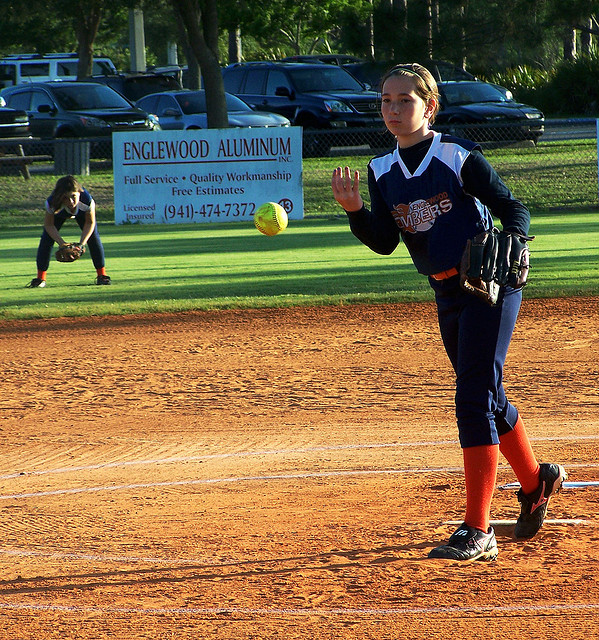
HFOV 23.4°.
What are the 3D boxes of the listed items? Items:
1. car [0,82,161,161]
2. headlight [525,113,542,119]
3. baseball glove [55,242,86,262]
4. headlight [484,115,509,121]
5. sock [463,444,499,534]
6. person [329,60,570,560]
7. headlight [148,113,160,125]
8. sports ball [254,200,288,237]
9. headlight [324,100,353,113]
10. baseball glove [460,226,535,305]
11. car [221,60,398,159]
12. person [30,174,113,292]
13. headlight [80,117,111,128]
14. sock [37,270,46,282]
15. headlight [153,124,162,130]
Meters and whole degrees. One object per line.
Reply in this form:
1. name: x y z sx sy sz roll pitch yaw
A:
1. car: -3.947 -3.432 24.878 3.224 1.265 1.535 4 6 44
2. headlight: 3.946 -3.420 24.194 0.215 0.095 0.438 9 15 41
3. baseball glove: -2.114 -0.669 13.571 0.271 0.188 0.103 -8 43 23
4. headlight: 3.266 -3.346 23.949 0.399 0.100 0.070 -6 13 -19
5. sock: 0.829 0.764 6.608 0.171 0.414 0.153 -6 13 -17
6. person: 0.709 -0.062 6.708 0.660 2.212 0.810 -13 16 -39
7. headlight: -2.425 -3.392 24.310 0.052 0.182 0.201 -21 4 6
8. sports ball: -0.264 -0.935 13.483 0.266 0.307 0.319 -1 12 2
9. headlight: 0.638 -3.419 23.134 0.445 0.205 0.118 -1 12 3
10. baseball glove: 0.873 -0.240 6.428 0.289 0.344 0.176 -2 -4 -17
11. car: 0.065 -3.692 24.174 2.189 1.712 4.317 -6 11 -40
12. person: -2.102 -0.791 13.457 0.841 1.028 0.664 4 9 15
13. headlight: -3.336 -3.245 23.764 0.494 0.168 0.105 2 13 17
14. sock: -2.430 -0.412 13.703 0.081 0.114 0.081 -22 32 -34
15. headlight: -2.376 -3.241 24.299 0.027 0.104 0.116 -4 5 40
